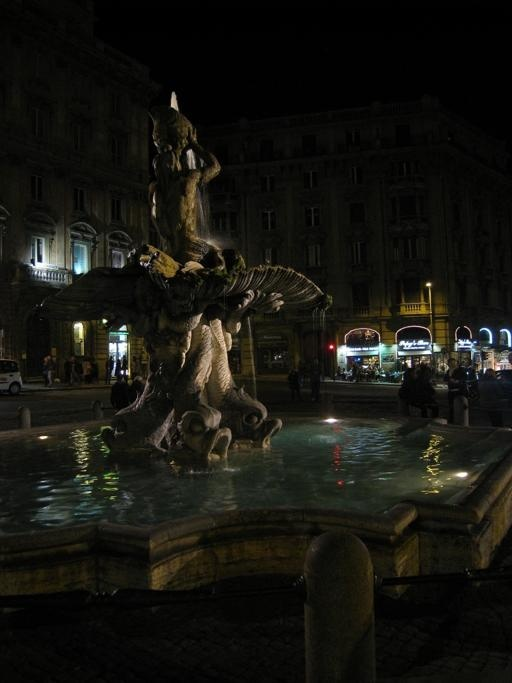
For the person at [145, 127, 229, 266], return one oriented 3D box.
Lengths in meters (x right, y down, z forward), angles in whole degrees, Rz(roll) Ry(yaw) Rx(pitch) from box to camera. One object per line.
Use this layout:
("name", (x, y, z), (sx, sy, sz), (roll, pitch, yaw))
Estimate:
("person", (-1.037, -2.127, 8.615), (0.876, 2.148, 0.755), (0, -3, -17))
